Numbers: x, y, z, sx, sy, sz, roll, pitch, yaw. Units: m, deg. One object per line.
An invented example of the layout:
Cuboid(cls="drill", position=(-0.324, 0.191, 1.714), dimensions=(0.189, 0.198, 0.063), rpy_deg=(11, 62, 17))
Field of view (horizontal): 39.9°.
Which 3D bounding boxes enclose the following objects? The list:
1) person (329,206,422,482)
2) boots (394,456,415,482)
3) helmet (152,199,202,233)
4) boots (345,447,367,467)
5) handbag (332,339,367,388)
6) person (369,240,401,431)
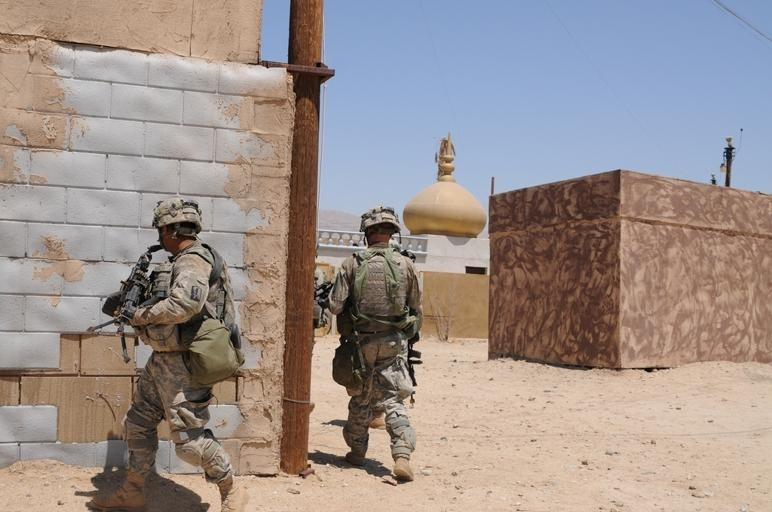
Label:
Cuboid(cls="person", position=(0.032, 1.071, 11.108), dimensions=(1.050, 2.312, 0.776), rpy_deg=(7, 10, 37))
Cuboid(cls="boots", position=(0.192, 2.154, 10.795), dimensions=(0.209, 0.258, 0.207), rpy_deg=(1, 8, 1))
Cuboid(cls="helmet", position=(-1.885, -0.362, 9.733), dimensions=(0.391, 0.290, 0.311), rpy_deg=(-14, -12, 28))
Cuboid(cls="boots", position=(-0.314, 2.102, 11.146), dimensions=(0.232, 0.216, 0.135), rpy_deg=(8, 4, 31))
Cuboid(cls="handbag", position=(-0.393, 1.122, 11.051), dimensions=(0.186, 0.510, 0.410), rpy_deg=(-7, 11, -44))
Cuboid(cls="person", position=(-0.001, 0.836, 10.998), dimensions=(0.321, 1.901, 0.710), rpy_deg=(6, 7, 3))
